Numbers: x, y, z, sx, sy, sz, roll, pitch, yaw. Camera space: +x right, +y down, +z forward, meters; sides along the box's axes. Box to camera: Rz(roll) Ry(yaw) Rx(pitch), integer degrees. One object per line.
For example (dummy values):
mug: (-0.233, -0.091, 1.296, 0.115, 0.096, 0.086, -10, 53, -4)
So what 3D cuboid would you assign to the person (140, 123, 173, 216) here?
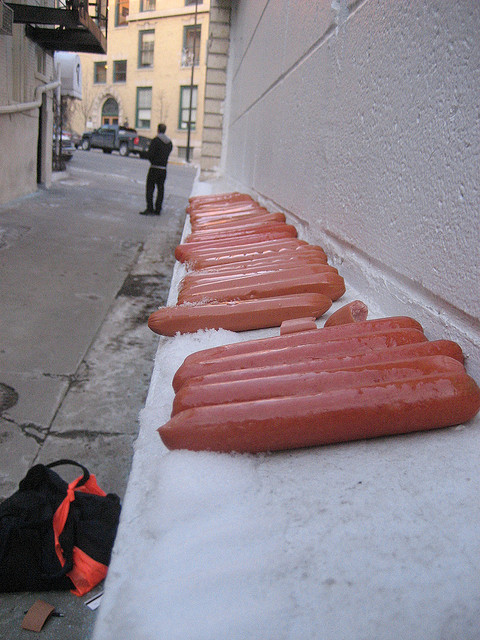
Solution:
person: (-1.343, -2.409, 9.175, 0.451, 1.549, 0.490, 0, 18, -11)
